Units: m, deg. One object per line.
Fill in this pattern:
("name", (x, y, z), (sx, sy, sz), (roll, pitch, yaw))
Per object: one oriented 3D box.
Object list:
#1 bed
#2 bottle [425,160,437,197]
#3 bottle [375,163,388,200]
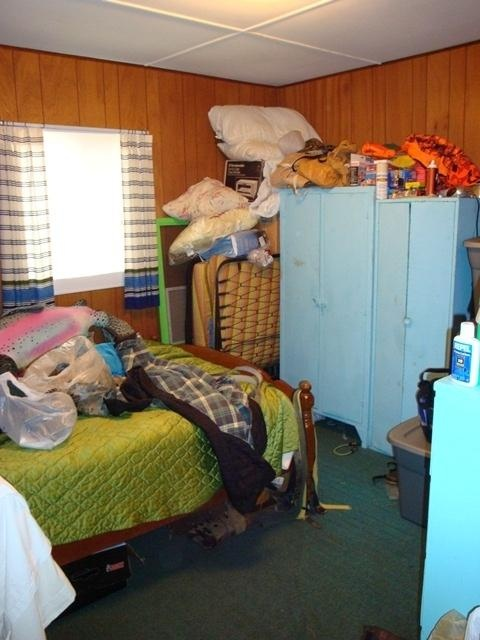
("bed", (-0.219, 0.645, 2.397), (1.009, 0.625, 0.849), (-23, 45, -21))
("bottle", (1.114, -0.824, 2.842), (0.059, 0.198, 0.066), (2, 9, 21))
("bottle", (0.874, -0.863, 3.014), (0.074, 0.231, 0.081), (-2, 8, 0))
